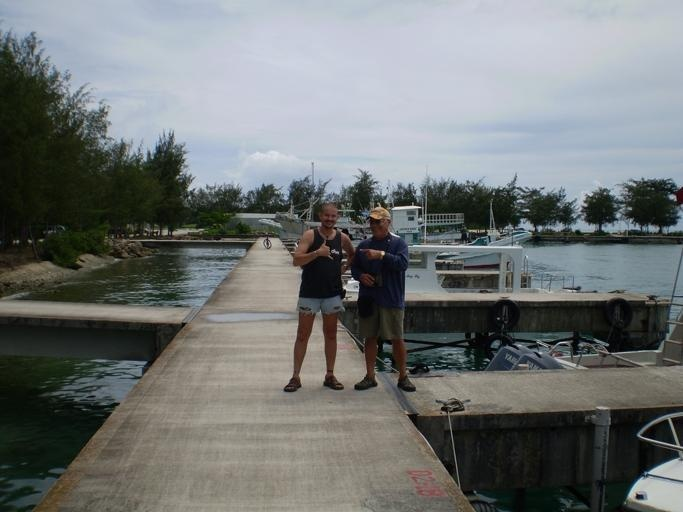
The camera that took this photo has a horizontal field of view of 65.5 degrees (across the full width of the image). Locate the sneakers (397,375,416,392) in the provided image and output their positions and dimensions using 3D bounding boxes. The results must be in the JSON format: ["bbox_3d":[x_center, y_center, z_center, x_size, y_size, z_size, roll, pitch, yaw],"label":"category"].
[{"bbox_3d":[0.843,1.693,7.025,0.144,0.116,0.274,1,-9,-13],"label":"sneakers"}]

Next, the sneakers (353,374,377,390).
[{"bbox_3d":[0.335,1.691,7.101,0.343,0.138,0.136,6,-8,-41],"label":"sneakers"}]

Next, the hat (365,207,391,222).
[{"bbox_3d":[0.506,-0.521,6.649,0.264,0.121,0.171,10,-7,-42],"label":"hat"}]

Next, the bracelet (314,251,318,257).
[{"bbox_3d":[-0.299,-0.029,6.511,0.066,0.059,0.032,1,7,-1],"label":"bracelet"}]

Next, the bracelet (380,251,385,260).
[{"bbox_3d":[0.494,-0.024,6.537,0.059,0.072,0.083,5,-2,2],"label":"bracelet"}]

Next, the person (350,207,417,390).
[{"bbox_3d":[0.526,0.582,6.774,0.820,2.397,0.449,2,8,5],"label":"person"}]

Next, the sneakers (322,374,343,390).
[{"bbox_3d":[-0.117,1.685,7.073,0.137,0.113,0.283,1,-7,-21],"label":"sneakers"}]

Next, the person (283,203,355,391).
[{"bbox_3d":[-0.283,0.558,6.775,0.854,2.454,0.532,0,8,-9],"label":"person"}]
